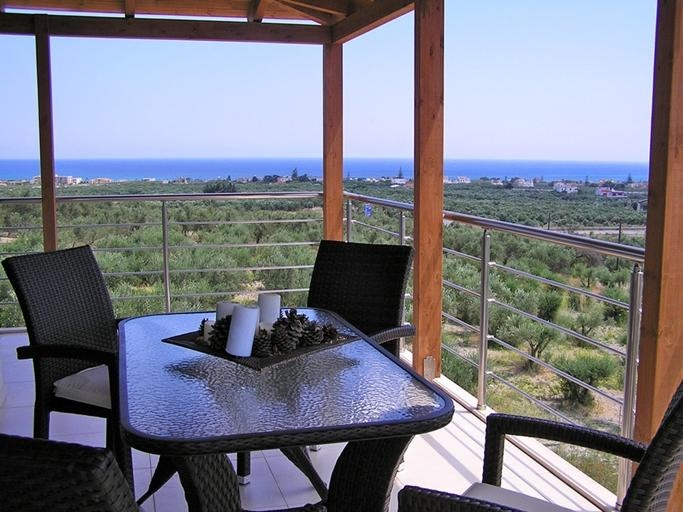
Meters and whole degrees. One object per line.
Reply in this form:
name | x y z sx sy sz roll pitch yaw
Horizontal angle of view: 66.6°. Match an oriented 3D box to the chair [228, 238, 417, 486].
chair | -0.159 0.417 2.896 0.920 1.453 1.000 4 2 33
